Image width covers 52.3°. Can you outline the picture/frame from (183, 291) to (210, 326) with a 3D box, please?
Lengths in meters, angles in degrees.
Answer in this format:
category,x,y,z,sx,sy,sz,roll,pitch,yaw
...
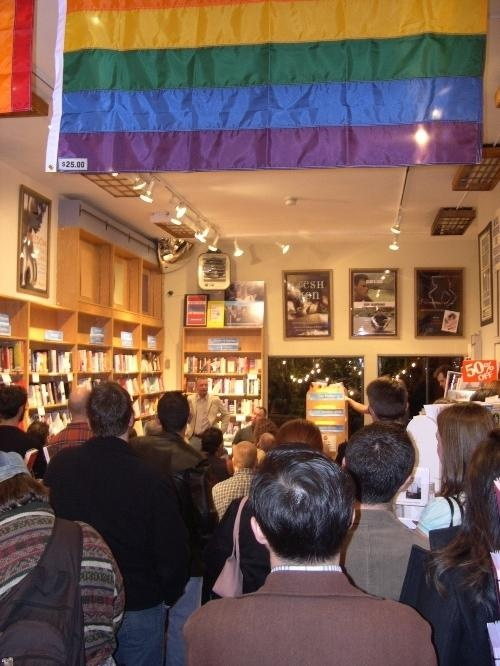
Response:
category,x,y,z,sx,sy,sz,roll,pitch,yaw
picture/frame,-0.962,-0.425,9.257,0.641,0.854,0.112,-1,-7,12

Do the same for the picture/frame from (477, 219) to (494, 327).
category,x,y,z,sx,sy,sz,roll,pitch,yaw
picture/frame,2.596,-0.619,5.595,0.131,1.068,0.953,-1,-2,24

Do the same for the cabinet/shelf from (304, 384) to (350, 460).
category,x,y,z,sx,sy,sz,roll,pitch,yaw
cabinet/shelf,1.192,1.400,7.972,0.684,1.119,0.715,3,-17,-4

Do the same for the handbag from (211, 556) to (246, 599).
category,x,y,z,sx,sy,sz,roll,pitch,yaw
handbag,-0.085,0.969,2.007,0.099,0.167,0.097,0,-2,18

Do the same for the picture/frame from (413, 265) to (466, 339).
category,x,y,z,sx,sy,sz,roll,pitch,yaw
picture/frame,3.314,-0.533,8.898,0.772,1.176,0.064,0,-2,9
